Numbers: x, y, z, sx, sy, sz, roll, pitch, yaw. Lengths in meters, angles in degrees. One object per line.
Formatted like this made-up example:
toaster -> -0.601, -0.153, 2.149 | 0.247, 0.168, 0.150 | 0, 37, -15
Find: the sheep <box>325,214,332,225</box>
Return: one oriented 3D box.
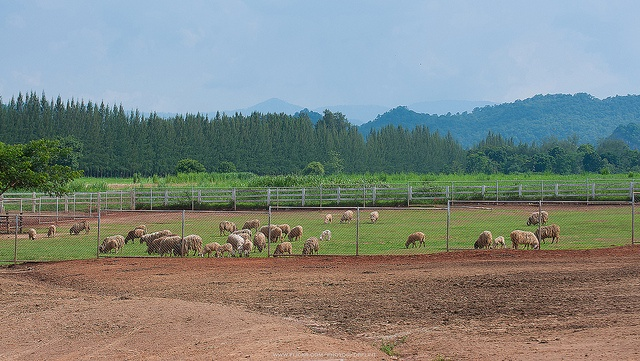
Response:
sheep -> 1.370, 6.150, 163.430 | 1.227, 1.571, 2.163 | -2, -5, 0
